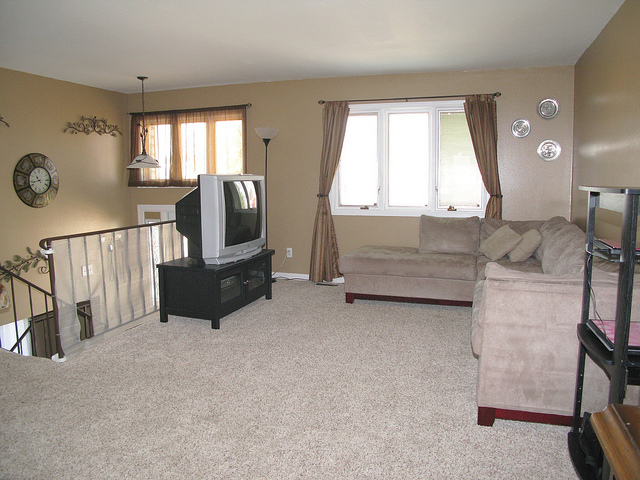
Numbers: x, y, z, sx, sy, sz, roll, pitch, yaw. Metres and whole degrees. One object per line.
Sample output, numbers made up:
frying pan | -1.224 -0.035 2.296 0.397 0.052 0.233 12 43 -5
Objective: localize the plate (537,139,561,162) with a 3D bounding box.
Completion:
plate | 2.786 -1.092 5.877 0.258 0.271 0.055 -1 9 1

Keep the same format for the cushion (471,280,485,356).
cushion | 1.219 0.609 3.731 0.118 0.167 0.651 0 22 22

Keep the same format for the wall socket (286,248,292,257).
wall socket | -0.434 0.176 6.851 0.066 0.125 0.024 2 10 19

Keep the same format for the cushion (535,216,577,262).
cushion | 2.501 -0.040 4.993 0.202 0.464 0.446 13 25 4

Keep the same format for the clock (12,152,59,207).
clock | -3.802 -0.807 6.396 0.063 0.732 0.692 -2 4 22

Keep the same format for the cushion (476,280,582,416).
cushion | 1.538 0.717 3.773 0.708 1.182 1.246 1 3 18

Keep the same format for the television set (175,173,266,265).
television set | -1.174 -0.143 5.449 0.852 1.062 1.165 1 6 17

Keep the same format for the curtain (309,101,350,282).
curtain | 0.117 -0.644 6.474 0.560 2.408 0.368 0 9 3

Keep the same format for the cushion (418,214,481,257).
cushion | 1.560 -0.040 5.857 0.724 0.513 0.265 4 3 19

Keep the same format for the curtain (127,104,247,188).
curtain | -1.957 -1.380 7.208 1.975 1.164 0.138 2 10 20

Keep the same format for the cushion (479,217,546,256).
cushion | 2.200 -0.116 5.658 0.497 0.163 0.515 -10 21 36

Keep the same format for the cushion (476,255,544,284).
cushion | 1.967 0.256 5.040 0.500 0.234 0.499 -10 5 -40
